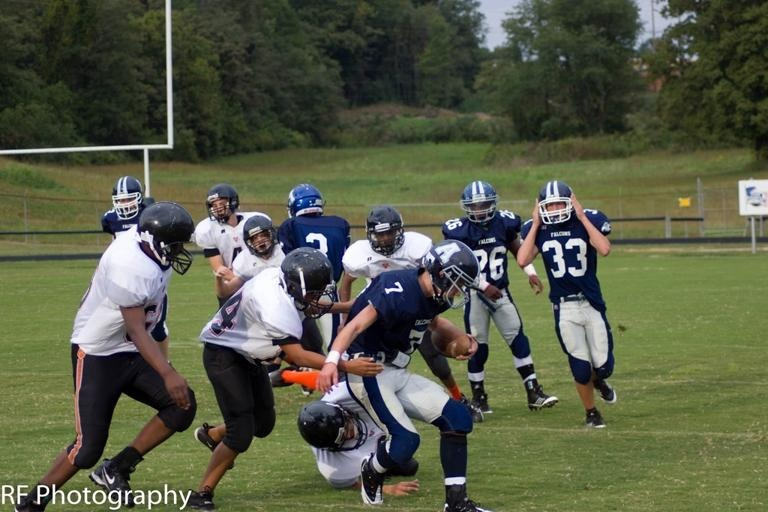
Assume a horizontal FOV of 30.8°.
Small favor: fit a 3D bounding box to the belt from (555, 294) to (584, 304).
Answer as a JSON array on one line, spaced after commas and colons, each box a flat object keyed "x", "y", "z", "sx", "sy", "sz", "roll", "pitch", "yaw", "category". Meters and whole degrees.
[{"x": 3.656, "y": 0.837, "z": 27.073, "sx": 0.521, "sy": 0.147, "sz": 0.058, "roll": -1, "pitch": 1, "yaw": 9, "category": "belt"}]

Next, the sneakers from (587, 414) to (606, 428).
[{"x": 4.091, "y": 3.214, "z": 26.844, "sx": 0.196, "sy": 0.144, "sz": 0.360, "roll": -3, "pitch": 0, "yaw": -23, "category": "sneakers"}]
